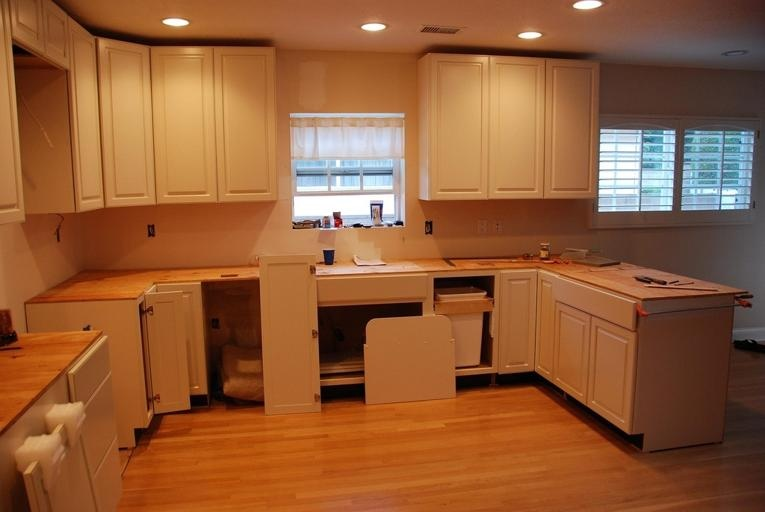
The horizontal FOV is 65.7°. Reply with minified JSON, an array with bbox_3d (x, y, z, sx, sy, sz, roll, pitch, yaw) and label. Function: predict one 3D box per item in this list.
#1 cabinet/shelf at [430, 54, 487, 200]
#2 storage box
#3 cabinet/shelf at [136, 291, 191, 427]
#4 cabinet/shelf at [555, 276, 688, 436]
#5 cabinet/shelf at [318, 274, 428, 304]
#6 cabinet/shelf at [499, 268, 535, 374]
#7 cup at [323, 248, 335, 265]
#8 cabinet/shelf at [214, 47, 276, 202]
[{"bbox_3d":[0.701,-1.098,5.122,0.549,1.241,0.144,9,19,35],"label":"cabinet/shelf"},{"bbox_3d":[0.706,0.558,5.389,0.610,0.764,0.682,-2,9,-4],"label":"storage box"},{"bbox_3d":[-1.617,0.740,4.489,0.090,0.934,0.357,-9,-7,28],"label":"cabinet/shelf"},{"bbox_3d":[1.831,0.713,4.573,0.556,1.005,1.080,-3,8,-14],"label":"cabinet/shelf"},{"bbox_3d":[-0.087,0.265,4.780,0.874,0.225,0.093,-2,9,-4],"label":"cabinet/shelf"},{"bbox_3d":[1.144,0.557,5.047,0.355,0.870,0.087,-5,10,-18],"label":"cabinet/shelf"},{"bbox_3d":[-0.470,0.010,5.152,0.127,0.117,0.122,0,8,0],"label":"cup"},{"bbox_3d":[-1.119,-1.064,4.845,0.494,1.213,0.144,-2,9,1],"label":"cabinet/shelf"}]
